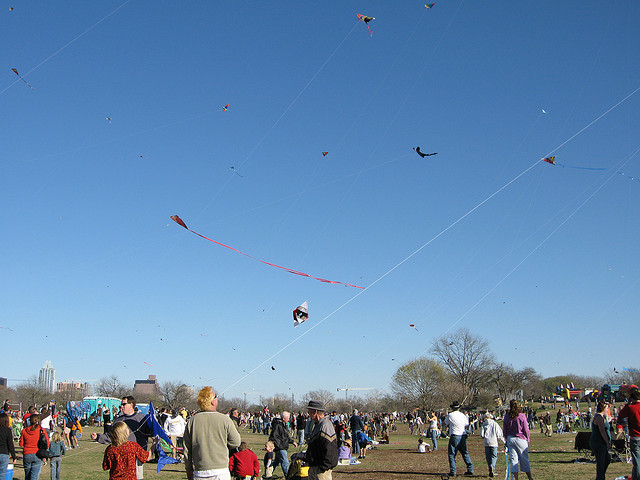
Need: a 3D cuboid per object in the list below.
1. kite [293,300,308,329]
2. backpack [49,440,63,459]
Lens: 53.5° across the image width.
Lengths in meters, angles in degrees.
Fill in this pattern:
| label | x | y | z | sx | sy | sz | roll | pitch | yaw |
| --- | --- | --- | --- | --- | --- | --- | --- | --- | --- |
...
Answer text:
| label | x | y | z | sx | sy | sz | roll | pitch | yaw |
| --- | --- | --- | --- | --- | --- | --- | --- | --- | --- |
| kite | -0.577 | 2.208 | 18.999 | 0.371 | 0.721 | 0.961 | 0 | -17 | -5 |
| backpack | -7.515 | 5.961 | 18.019 | 0.384 | 0.571 | 0.279 | 3 | -16 | -25 |
